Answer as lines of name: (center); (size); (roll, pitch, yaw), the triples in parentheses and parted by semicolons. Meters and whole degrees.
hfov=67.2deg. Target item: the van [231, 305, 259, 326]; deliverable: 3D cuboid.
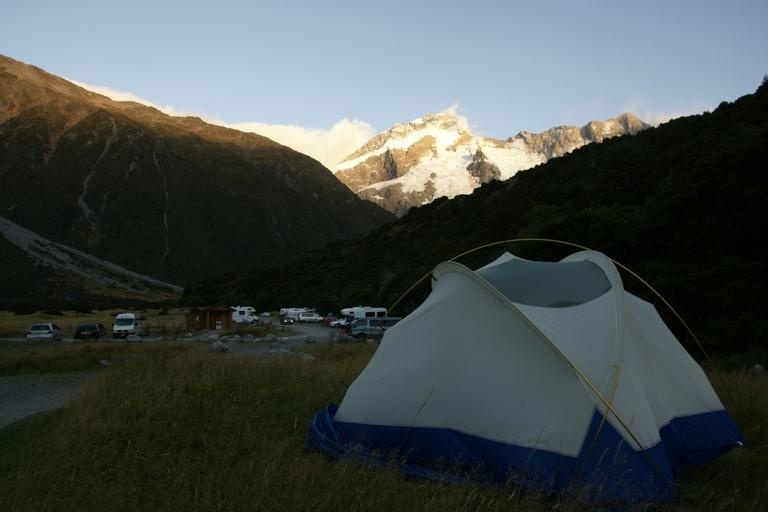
van: (-15.811, 6.761, 65.349); (3.031, 1.559, 1.793); (-2, -1, -13)

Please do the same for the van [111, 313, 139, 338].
van: (-20.290, 5.423, 45.337); (1.544, 1.697, 2.932); (-2, -9, -11)

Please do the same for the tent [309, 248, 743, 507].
tent: (3.293, 2.820, 17.910); (10.384, 5.661, 6.504); (4, 14, 15)
